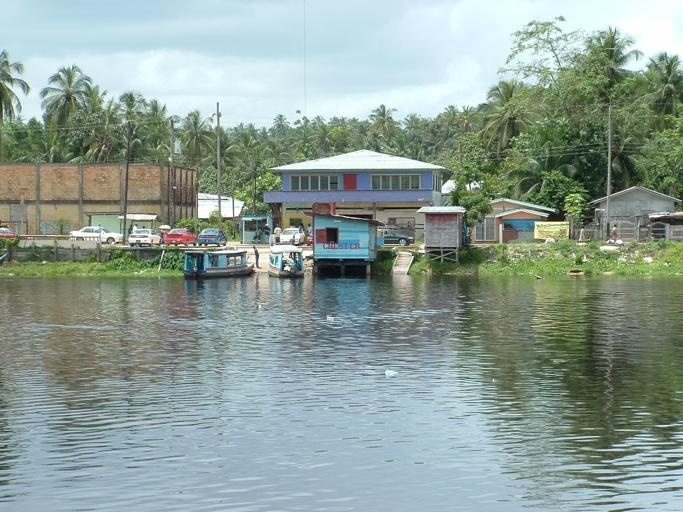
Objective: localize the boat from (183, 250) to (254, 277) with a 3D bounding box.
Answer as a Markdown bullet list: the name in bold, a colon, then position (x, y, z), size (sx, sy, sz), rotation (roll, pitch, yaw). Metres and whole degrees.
- **boat**: position (-10.694, 0.592, 92.739), size (2.426, 1.491, 5.562), rotation (4, 6, 40)

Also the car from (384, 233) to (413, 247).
- **car**: position (5.501, -1.660, 103.164), size (2.626, 0.833, 1.129), rotation (-1, 5, 7)

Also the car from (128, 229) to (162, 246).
- **car**: position (-18.175, -1.748, 98.683), size (2.231, 1.603, 3.249), rotation (0, 2, 15)

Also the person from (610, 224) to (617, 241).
- **person**: position (24.337, -2.081, 94.189), size (0.592, 1.416, 2.413), rotation (0, 2, 14)

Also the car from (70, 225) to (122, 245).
- **car**: position (-24.120, -2.036, 103.701), size (4.818, 1.481, 2.044), rotation (-2, 6, -2)

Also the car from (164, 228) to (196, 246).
- **car**: position (-15.213, -1.870, 100.516), size (1.495, 1.027, 3.337), rotation (0, 4, 6)

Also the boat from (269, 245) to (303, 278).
- **boat**: position (-4.778, 0.451, 93.499), size (2.630, 2.731, 3.229), rotation (-1, 2, -10)

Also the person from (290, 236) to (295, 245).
- **person**: position (-4.661, -1.559, 101.662), size (0.401, 0.842, 0.890), rotation (0, 2, 10)

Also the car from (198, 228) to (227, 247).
- **car**: position (-12.582, -1.842, 102.839), size (2.586, 1.610, 3.703), rotation (-1, 2, -6)
